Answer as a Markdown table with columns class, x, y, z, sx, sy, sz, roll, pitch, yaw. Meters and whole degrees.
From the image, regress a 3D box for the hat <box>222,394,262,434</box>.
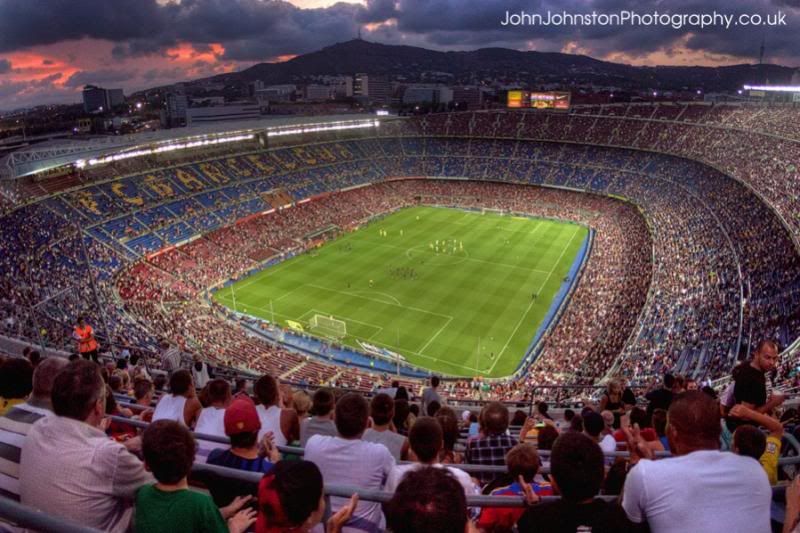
| class | x | y | z | sx | sy | sz | roll | pitch | yaw |
| --- | --- | --- | --- | --- | --- | --- | --- | --- | --- |
| hat | -2.099 | 2.017 | 6.794 | 0.455 | 0.465 | 0.274 | 13 | -15 | -11 |
